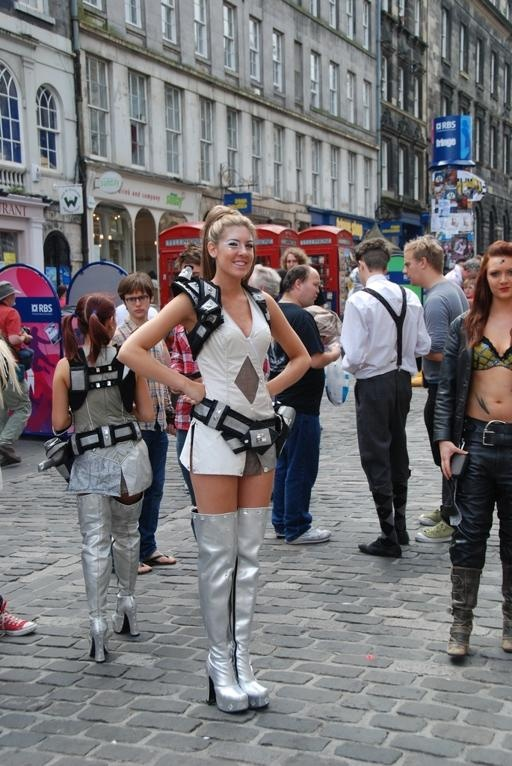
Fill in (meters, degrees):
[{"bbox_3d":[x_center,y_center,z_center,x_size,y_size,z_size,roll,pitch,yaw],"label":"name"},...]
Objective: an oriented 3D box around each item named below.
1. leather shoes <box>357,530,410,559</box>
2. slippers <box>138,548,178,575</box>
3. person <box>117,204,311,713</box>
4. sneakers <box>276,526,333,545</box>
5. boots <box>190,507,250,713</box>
[{"bbox_3d":[0.805,1.035,5.153,0.128,0.147,0.352,-5,3,-35],"label":"leather shoes"},{"bbox_3d":[-0.630,1.113,4.989,0.202,0.053,0.132,-4,5,-37],"label":"slippers"},{"bbox_3d":[-0.158,0.256,3.087,0.522,1.871,0.588,2,9,19],"label":"person"},{"bbox_3d":[0.319,1.051,5.508,0.346,0.140,0.119,-3,7,-4],"label":"sneakers"},{"bbox_3d":[-0.132,0.846,2.957,0.179,0.734,0.238,-2,8,-6],"label":"boots"}]
